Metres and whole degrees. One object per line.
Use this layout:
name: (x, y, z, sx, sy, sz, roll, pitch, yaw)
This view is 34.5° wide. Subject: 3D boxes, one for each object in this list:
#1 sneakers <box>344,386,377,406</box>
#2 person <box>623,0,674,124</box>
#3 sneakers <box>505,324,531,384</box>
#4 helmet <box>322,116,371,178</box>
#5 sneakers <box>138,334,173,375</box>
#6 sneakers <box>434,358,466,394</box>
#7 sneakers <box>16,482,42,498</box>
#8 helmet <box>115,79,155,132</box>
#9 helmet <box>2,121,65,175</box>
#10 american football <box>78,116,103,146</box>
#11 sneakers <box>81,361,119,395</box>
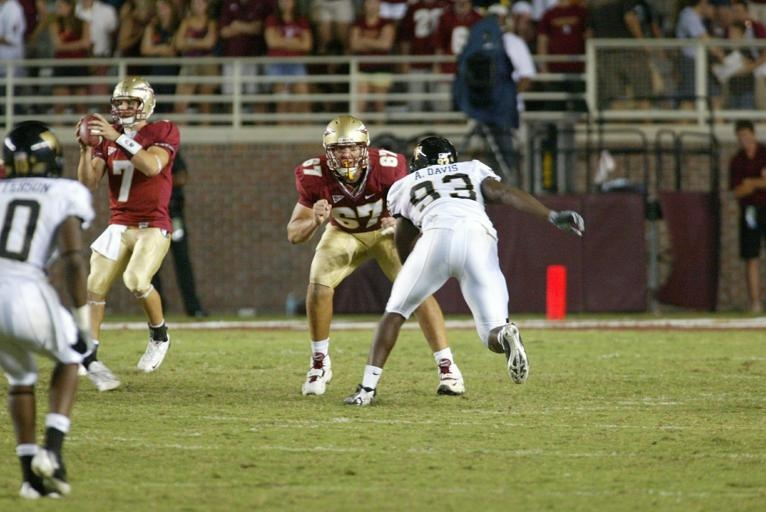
sneakers: (-0.174, 1.135, 9.964, 0.246, 0.112, 0.141, 1, -2, -26)
person: (3.432, -2.661, 16.111, 0.569, 1.426, 0.936, 2, 10, 10)
sneakers: (1.071, 0.791, 9.649, 0.184, 0.474, 0.208, -11, 3, 17)
helmet: (-0.290, -0.920, 10.387, 0.416, 0.525, 0.537, -5, 2, -6)
sneakers: (-2.100, 0.846, 11.246, 0.183, 0.187, 0.457, 13, 46, 8)
sneakers: (0.538, 1.005, 10.358, 0.192, 0.242, 0.509, 0, 9, 5)
sneakers: (-2.378, 1.576, 8.228, 0.135, 0.094, 0.055, 22, 6, -8)
helmet: (-2.212, -1.421, 11.189, 0.440, 0.411, 0.350, -1, 8, -22)
helmet: (-2.398, -0.758, 8.540, 0.355, 0.399, 0.390, 2, -19, -7)
american football: (-2.561, -1.091, 10.718, 0.194, 0.197, 0.246, 3, 33, -14)
sneakers: (-2.414, 1.012, 10.448, 0.178, 0.237, 0.589, -47, 14, -14)
